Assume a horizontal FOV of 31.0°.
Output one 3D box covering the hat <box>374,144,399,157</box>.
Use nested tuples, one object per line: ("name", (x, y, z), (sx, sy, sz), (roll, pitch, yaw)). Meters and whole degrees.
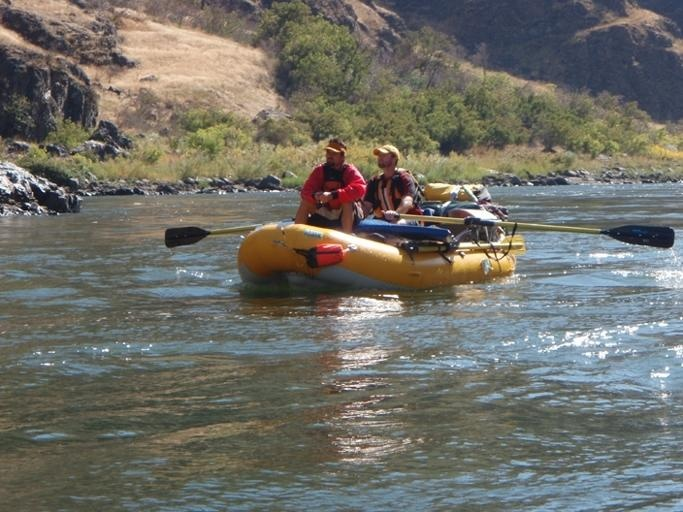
("hat", (0.759, -1.957, 22.866), (0.508, 0.200, 0.393), (-1, 12, -26))
